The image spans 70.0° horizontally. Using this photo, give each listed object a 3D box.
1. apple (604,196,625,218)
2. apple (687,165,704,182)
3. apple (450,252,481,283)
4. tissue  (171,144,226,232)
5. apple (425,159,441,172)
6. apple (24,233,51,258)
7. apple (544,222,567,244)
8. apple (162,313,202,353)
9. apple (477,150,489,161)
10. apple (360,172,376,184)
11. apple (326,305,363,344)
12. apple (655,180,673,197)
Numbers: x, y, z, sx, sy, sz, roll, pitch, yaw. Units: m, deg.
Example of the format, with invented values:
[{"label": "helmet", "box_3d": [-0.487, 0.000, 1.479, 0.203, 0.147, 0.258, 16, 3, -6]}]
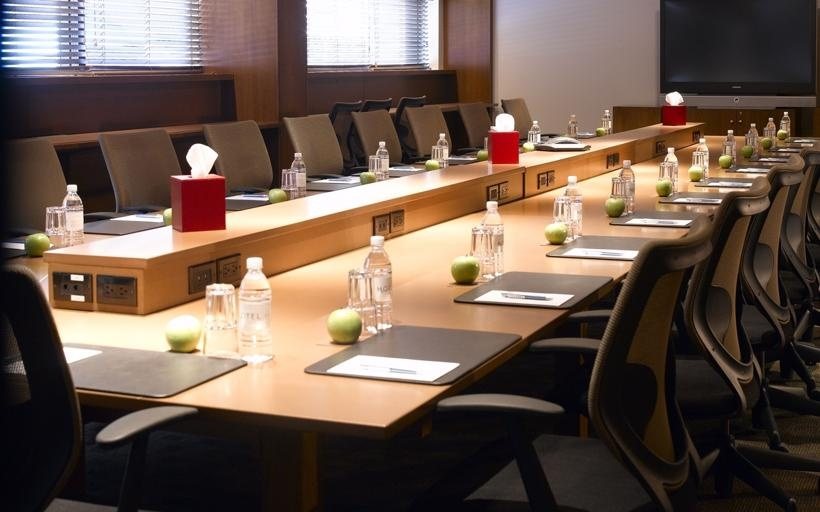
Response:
[{"label": "apple", "box_3d": [1.219, -0.287, 3.453, 0.113, 0.116, 0.113, 3, 7, 45]}, {"label": "apple", "box_3d": [2.230, -0.645, 4.600, 0.120, 0.118, 0.123, 0, 1, 16]}, {"label": "apple", "box_3d": [0.231, 0.042, 2.398, 0.104, 0.115, 0.107, -2, 12, 0]}, {"label": "tissue ", "box_3d": [-0.883, -0.300, 2.532, 0.229, 0.351, 0.236, 1, 11, 9]}, {"label": "apple", "box_3d": [0.184, -0.748, 4.860, 0.147, 0.139, 0.148, 0, -3, 4]}, {"label": "apple", "box_3d": [-1.731, -0.048, 2.720, 0.110, 0.114, 0.111, 0, -3, 9]}, {"label": "apple", "box_3d": [0.737, -0.126, 2.957, 0.102, 0.108, 0.106, -1, 11, 17]}, {"label": "apple", "box_3d": [-0.680, 0.235, 1.754, 0.105, 0.101, 0.106, 3, 6, -11]}, {"label": "apple", "box_3d": [0.628, -0.873, 5.108, 0.116, 0.112, 0.118, 0, 2, -1]}, {"label": "apple", "box_3d": [-0.305, -0.567, 4.291, 0.108, 0.106, 0.111, 0, 8, 11]}, {"label": "apple", "box_3d": [-0.203, 0.211, 1.794, 0.110, 0.112, 0.113, -10, 14, -20]}, {"label": "apple", "box_3d": [1.747, -0.466, 4.031, 0.115, 0.115, 0.116, -1, 2, 2]}]
